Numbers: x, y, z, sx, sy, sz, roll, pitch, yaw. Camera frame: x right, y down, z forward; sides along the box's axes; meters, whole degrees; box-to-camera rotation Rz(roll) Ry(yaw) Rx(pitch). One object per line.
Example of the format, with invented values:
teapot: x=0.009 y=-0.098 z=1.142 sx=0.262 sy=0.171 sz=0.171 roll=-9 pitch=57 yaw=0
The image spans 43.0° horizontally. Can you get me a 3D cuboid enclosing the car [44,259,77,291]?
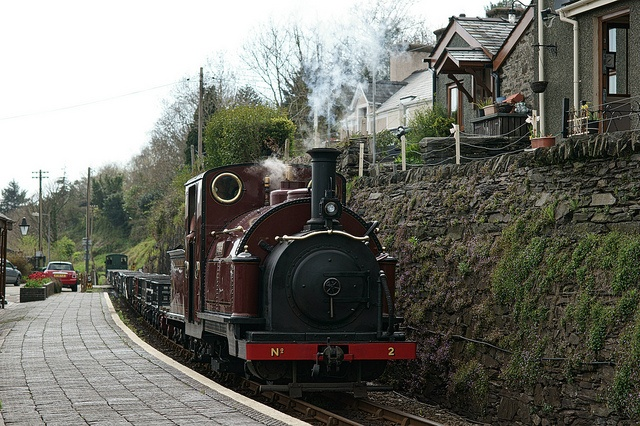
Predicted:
car: x=-13.358 y=3.215 z=42.445 sx=1.172 sy=1.113 sz=2.130 roll=1 pitch=4 yaw=-12
